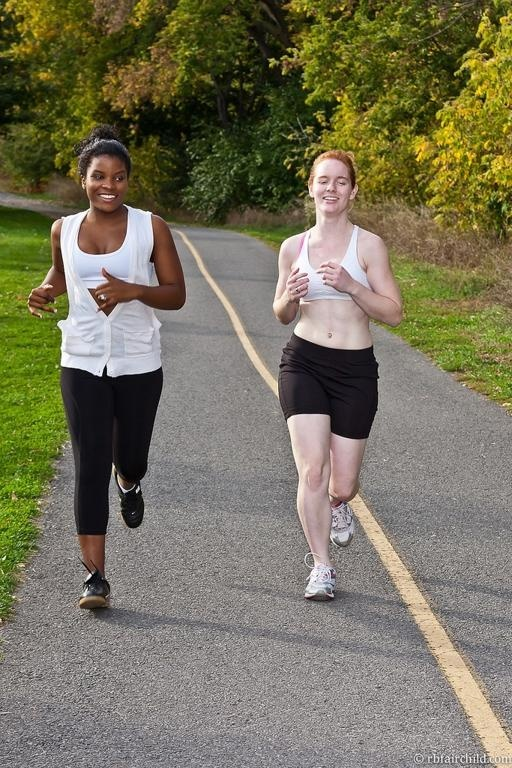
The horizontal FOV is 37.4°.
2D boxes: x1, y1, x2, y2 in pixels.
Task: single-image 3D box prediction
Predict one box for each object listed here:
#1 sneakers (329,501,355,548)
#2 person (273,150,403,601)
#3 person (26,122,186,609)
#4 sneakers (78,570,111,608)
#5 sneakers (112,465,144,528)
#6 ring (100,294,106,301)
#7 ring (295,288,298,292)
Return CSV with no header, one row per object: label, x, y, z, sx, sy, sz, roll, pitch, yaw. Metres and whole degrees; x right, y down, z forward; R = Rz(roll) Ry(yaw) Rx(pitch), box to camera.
sneakers,0.499,0.799,4.332,0.139,0.158,0.356,-1,44,4
person,0.399,-0.076,3.842,0.590,2.212,0.774,0,8,-7
person,-0.701,-0.081,3.647,0.721,2.239,0.898,-2,9,-16
sneakers,-0.730,0.956,3.472,0.097,0.109,0.244,-1,-17,0
sneakers,-0.712,0.701,4.450,0.156,0.415,0.173,-19,32,-8
ring,-0.660,-0.377,3.283,0.029,0.017,0.035,-12,41,-17
ring,0.203,-0.460,3.677,0.011,0.014,0.005,4,17,21
